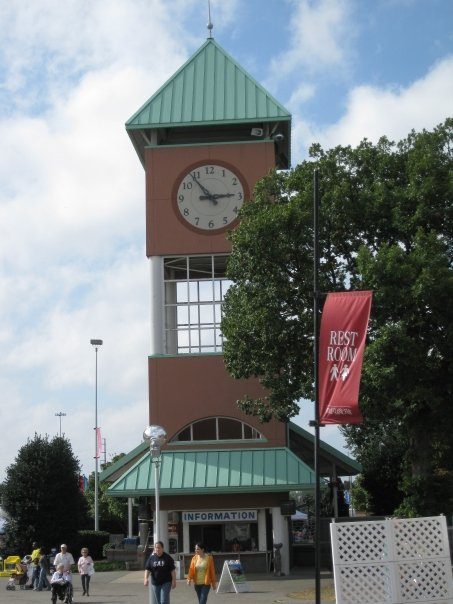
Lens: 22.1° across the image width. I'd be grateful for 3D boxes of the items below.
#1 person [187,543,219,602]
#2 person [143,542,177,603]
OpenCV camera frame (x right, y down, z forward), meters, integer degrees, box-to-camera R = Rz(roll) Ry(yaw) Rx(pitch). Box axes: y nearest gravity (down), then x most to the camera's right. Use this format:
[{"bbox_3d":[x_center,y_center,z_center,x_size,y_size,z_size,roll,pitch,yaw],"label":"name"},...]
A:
[{"bbox_3d":[-0.580,6.529,28.002,0.634,1.374,0.742,-4,-12,-4],"label":"person"},{"bbox_3d":[-1.535,6.345,27.182,0.725,1.433,1.064,-4,-12,-5],"label":"person"}]
